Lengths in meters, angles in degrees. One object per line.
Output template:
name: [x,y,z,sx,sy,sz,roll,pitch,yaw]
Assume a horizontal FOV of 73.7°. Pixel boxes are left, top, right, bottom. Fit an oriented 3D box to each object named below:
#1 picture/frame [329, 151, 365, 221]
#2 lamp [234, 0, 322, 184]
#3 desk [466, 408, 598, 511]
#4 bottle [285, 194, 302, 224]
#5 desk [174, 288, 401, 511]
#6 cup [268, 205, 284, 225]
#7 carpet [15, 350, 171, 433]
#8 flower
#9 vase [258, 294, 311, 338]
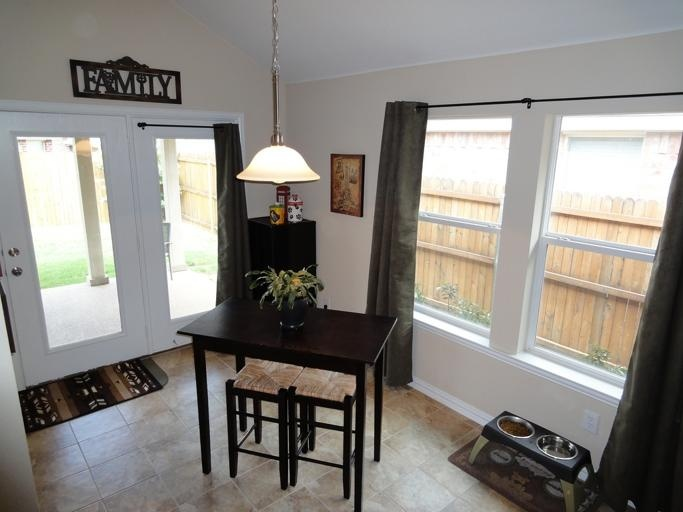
picture/frame: [0.060,-0.701,4.445,0.051,0.784,0.536,-13,19,-38]
lamp: [-0.455,-1.201,3.091,0.517,1.382,1.478,-2,13,-12]
desk: [1.387,1.317,3.184,0.474,0.333,0.731,-17,24,-42]
bottle: [-0.489,-0.483,4.735,0.230,0.387,0.238,0,7,0]
desk: [-0.405,1.361,3.736,1.870,1.695,1.187,6,18,18]
cup: [-0.647,-0.424,4.641,0.157,0.198,0.150,1,13,0]
carpet: [-2.199,1.180,4.086,1.140,0.170,0.611,-7,15,-34]
flower: [-0.379,0.249,3.156,0.449,0.210,0.380,-8,-6,-1]
vase: [-0.383,0.401,3.173,0.318,0.235,0.216,1,5,14]
